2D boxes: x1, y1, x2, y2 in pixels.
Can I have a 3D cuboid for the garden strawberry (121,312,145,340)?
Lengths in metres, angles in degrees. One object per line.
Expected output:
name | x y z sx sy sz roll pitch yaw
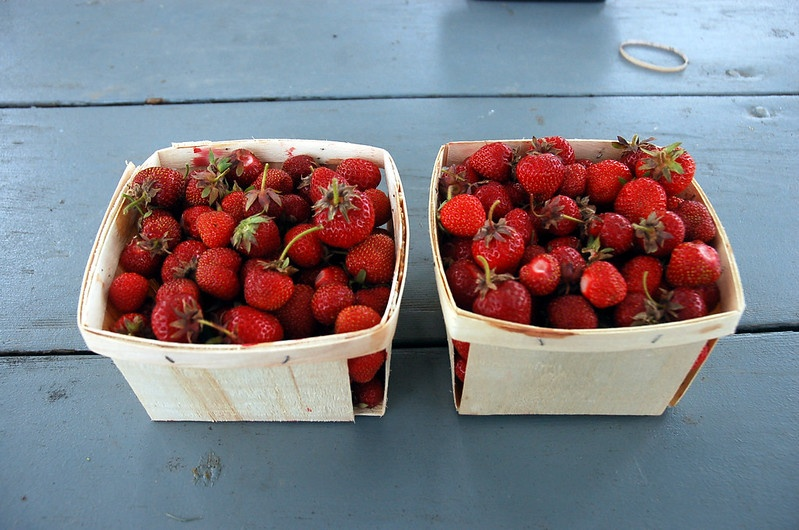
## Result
garden strawberry | -0.860 0.193 2.354 0.075 0.070 0.082 -11 32 -16

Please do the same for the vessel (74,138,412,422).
vessel | -0.495 0.050 2.598 1.068 0.664 0.843 -3 42 1

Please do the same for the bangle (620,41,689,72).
bangle | 1.286 -1.058 3.668 0.354 0.048 0.252 18 46 22
